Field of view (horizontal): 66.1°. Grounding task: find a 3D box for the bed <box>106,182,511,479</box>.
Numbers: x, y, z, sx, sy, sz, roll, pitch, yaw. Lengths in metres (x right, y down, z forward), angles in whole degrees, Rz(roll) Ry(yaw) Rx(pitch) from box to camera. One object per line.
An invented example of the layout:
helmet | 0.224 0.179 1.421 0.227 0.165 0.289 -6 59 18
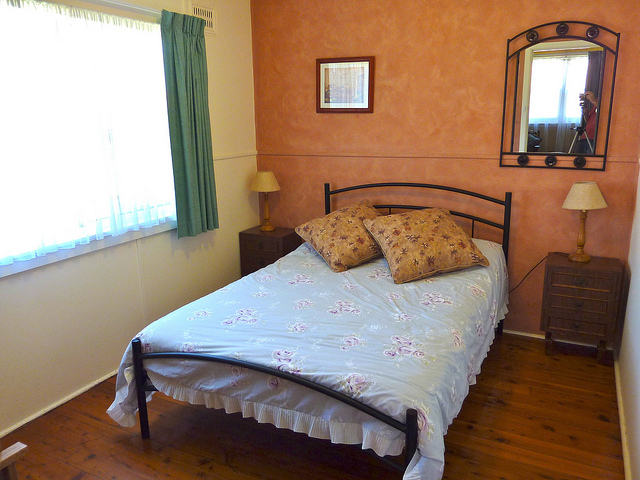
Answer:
bed | 0.096 0.544 3.491 2.022 1.241 2.214 8 17 24

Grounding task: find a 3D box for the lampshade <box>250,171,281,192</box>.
lampshade | -0.513 -0.546 4.660 0.216 0.188 0.216 7 18 26

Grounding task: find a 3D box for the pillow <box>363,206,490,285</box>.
pillow | 0.768 0.024 3.767 0.652 0.189 0.623 -10 39 -18

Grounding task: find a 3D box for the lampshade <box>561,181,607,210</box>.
lampshade | 2.010 -0.332 3.707 0.239 0.131 0.238 3 18 22

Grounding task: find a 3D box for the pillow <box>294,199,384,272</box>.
pillow | 0.168 -0.011 4.084 0.585 0.174 0.570 -25 47 -17

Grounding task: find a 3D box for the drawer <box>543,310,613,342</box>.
drawer | 2.001 0.659 3.804 0.278 0.138 0.323 4 3 35
